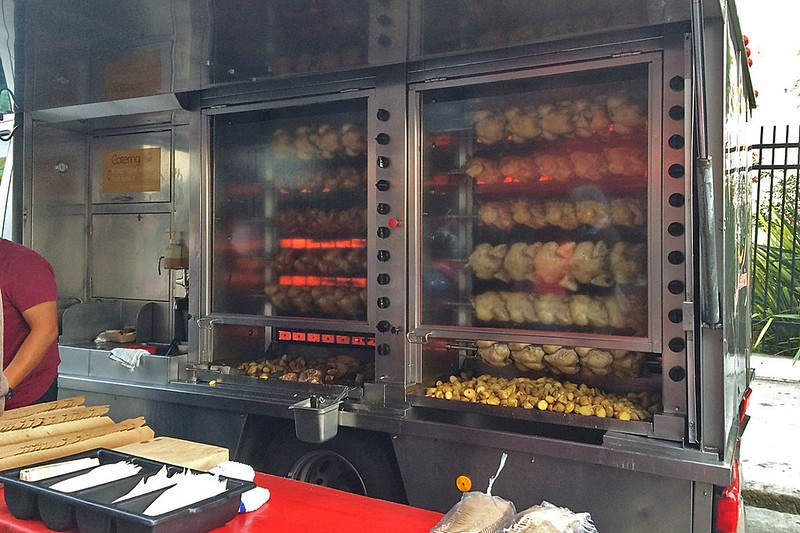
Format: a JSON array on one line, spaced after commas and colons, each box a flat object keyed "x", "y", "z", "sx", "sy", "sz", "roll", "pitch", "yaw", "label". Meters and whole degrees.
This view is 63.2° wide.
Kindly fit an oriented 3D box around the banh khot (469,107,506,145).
[{"x": 0.703, "y": -1.083, "z": 5.065, "sx": 0.252, "sy": 0.257, "sz": 0.105, "roll": 0, "pitch": 0, "yaw": 13, "label": "banh khot"}]

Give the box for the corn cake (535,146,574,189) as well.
[{"x": 1.159, "y": -0.738, "z": 4.861, "sx": 0.267, "sy": 0.233, "sz": 0.037, "roll": 0, "pitch": 0, "yaw": 19, "label": "corn cake"}]

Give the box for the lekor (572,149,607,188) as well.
[{"x": 1.382, "y": -0.730, "z": 4.755, "sx": 0.250, "sy": 0.224, "sz": 0.035, "roll": 0, "pitch": 0, "yaw": 23, "label": "lekor"}]

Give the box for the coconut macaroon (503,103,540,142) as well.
[{"x": 0.939, "y": -1.087, "z": 4.962, "sx": 0.271, "sy": 0.259, "sz": 0.099, "roll": 0, "pitch": 0, "yaw": 12, "label": "coconut macaroon"}]

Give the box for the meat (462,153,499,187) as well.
[{"x": 0.643, "y": -0.745, "z": 5.046, "sx": 0.243, "sy": 0.177, "sz": 0.096, "roll": 22, "pitch": 6, "yaw": 24, "label": "meat"}]

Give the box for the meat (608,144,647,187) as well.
[{"x": 1.612, "y": -0.722, "z": 4.642, "sx": 0.288, "sy": 0.285, "sz": 0.095, "roll": 0, "pitch": 0, "yaw": 24, "label": "meat"}]

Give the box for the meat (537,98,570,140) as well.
[{"x": 1.126, "y": -1.095, "z": 4.785, "sx": 0.250, "sy": 0.234, "sz": 0.074, "roll": 6, "pitch": 7, "yaw": 30, "label": "meat"}]

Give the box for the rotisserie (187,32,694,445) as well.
[{"x": 0.323, "y": -0.294, "z": 5.884, "sx": 4.990, "sy": 3.041, "sz": 1.869, "roll": 2, "pitch": 3, "yaw": 38, "label": "rotisserie"}]

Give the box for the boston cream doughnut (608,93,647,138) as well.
[{"x": 1.619, "y": -1.083, "z": 4.639, "sx": 0.265, "sy": 0.274, "sz": 0.114, "roll": 0, "pitch": 0, "yaw": 20, "label": "boston cream doughnut"}]
